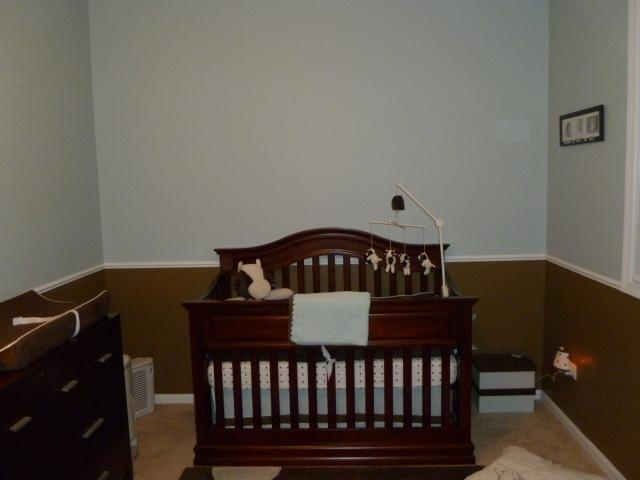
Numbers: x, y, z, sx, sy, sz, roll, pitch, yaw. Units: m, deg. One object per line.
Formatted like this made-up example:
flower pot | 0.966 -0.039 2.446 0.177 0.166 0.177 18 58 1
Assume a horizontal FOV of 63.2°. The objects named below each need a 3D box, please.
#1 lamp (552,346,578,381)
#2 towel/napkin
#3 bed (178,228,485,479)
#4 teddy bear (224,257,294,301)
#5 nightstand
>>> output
lamp | 1.559 0.793 3.361 0.096 0.204 0.276 0 7 3
towel/napkin | 0.059 0.447 2.867 0.444 0.270 0.047 1 7 2
bed | 0.102 0.464 3.290 1.666 1.503 1.036 -2 25 3
teddy bear | -0.356 0.230 3.180 0.320 0.261 0.240 3 -3 4
nightstand | 1.230 0.978 3.604 0.338 0.310 0.358 -1 0 3
